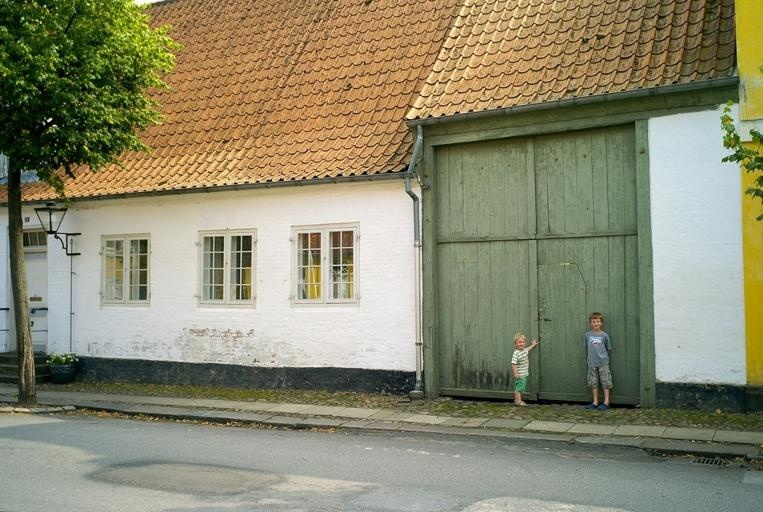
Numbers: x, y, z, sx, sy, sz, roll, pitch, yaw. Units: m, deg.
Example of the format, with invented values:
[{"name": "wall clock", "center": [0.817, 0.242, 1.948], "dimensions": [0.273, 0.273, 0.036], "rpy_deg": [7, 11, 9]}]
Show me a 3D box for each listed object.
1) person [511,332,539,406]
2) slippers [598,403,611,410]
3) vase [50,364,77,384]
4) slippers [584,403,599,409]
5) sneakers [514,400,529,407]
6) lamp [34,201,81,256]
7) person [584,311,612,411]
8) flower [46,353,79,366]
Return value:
[{"name": "person", "center": [2.661, 2.176, 18.547], "dimensions": [0.471, 1.309, 0.442], "rpy_deg": [1, -6, -30]}, {"name": "slippers", "center": [4.040, 2.765, 17.883], "dimensions": [0.186, 0.072, 0.102], "rpy_deg": [2, -4, 33]}, {"name": "vase", "center": [-7.196, 2.716, 22.186], "dimensions": [0.473, 0.336, 0.463], "rpy_deg": [-3, -10, 15]}, {"name": "slippers", "center": [3.848, 2.771, 17.995], "dimensions": [0.184, 0.073, 0.104], "rpy_deg": [0, -5, 18]}, {"name": "sneakers", "center": [2.625, 2.796, 18.422], "dimensions": [0.260, 0.107, 0.088], "rpy_deg": [1, -4, -33]}, {"name": "lamp", "center": [-7.614, -0.568, 22.535], "dimensions": [1.055, 1.192, 0.781], "rpy_deg": [-3, -6, 19]}, {"name": "person", "center": [3.984, 1.935, 18.000], "dimensions": [0.461, 1.737, 0.296], "rpy_deg": [-3, -6, 12]}, {"name": "flower", "center": [-7.341, 2.385, 22.321], "dimensions": [0.672, 0.294, 0.537], "rpy_deg": [-3, -6, 16]}]
